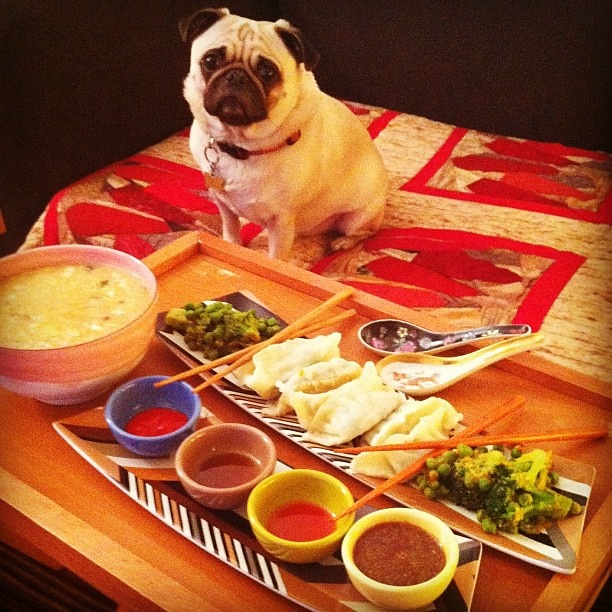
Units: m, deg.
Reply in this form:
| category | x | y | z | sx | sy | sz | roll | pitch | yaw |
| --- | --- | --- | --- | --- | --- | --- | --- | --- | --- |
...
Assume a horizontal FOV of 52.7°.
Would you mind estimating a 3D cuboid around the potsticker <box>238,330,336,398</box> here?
| category | x | y | z | sx | sy | sz | roll | pitch | yaw |
| --- | --- | --- | --- | --- | --- | --- | --- | --- | --- |
| potsticker | -0.027 | 0.097 | 1.095 | 0.154 | 0.038 | 0.102 | -30 | 35 | -35 |

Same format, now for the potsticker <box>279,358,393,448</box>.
| category | x | y | z | sx | sy | sz | roll | pitch | yaw |
| --- | --- | --- | --- | --- | --- | --- | --- | --- | --- |
| potsticker | 0.064 | 0.161 | 1.094 | 0.201 | 0.091 | 0.204 | -17 | 28 | -41 |
